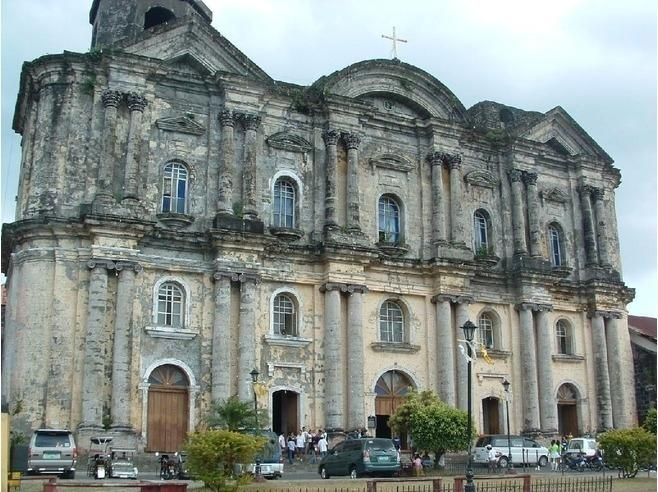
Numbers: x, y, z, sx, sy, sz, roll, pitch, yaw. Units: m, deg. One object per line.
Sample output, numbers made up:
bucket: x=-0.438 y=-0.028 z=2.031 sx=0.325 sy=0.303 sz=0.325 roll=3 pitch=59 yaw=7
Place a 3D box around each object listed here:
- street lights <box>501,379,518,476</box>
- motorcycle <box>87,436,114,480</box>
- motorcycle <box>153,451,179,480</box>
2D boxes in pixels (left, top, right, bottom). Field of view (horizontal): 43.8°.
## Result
street lights: x=9.526 y=9.417 z=43.818 sx=0.612 sy=4.231 sz=0.624 roll=-6 pitch=-11 yaw=26
motorcycle: x=-9.919 y=9.098 z=35.462 sx=0.982 sy=1.852 sz=3.252 roll=5 pitch=-17 yaw=-14
motorcycle: x=-6.994 y=9.649 z=35.740 sx=0.887 sy=0.841 sz=1.322 roll=-2 pitch=-16 yaw=6
